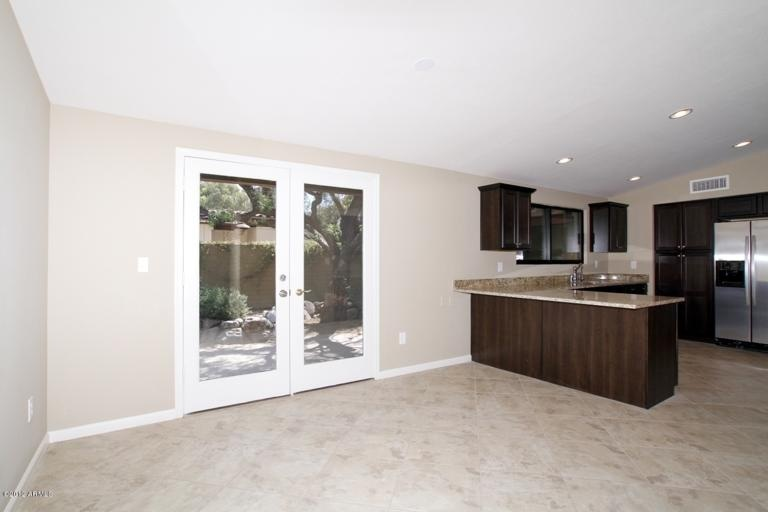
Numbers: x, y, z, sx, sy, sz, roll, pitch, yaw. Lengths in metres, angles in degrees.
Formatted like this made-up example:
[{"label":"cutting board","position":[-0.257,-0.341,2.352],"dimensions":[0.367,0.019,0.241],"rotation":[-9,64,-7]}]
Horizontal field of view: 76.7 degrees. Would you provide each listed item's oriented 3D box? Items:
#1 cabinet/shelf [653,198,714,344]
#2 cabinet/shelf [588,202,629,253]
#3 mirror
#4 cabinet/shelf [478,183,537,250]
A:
[{"label":"cabinet/shelf","position":[4.987,0.273,8.041],"dimensions":[0.331,2.275,0.882],"rotation":[-5,5,-31]},{"label":"cabinet/shelf","position":[3.802,-0.492,8.320],"dimensions":[0.849,1.105,0.516],"rotation":[2,-2,-28]},{"label":"mirror","position":[2.733,-0.317,8.067],"dimensions":[0.075,0.960,1.520],"rotation":[-2,2,-26]},{"label":"cabinet/shelf","position":[1.692,-0.557,6.859],"dimensions":[1.018,1.176,0.591],"rotation":[1,-2,-33]}]
